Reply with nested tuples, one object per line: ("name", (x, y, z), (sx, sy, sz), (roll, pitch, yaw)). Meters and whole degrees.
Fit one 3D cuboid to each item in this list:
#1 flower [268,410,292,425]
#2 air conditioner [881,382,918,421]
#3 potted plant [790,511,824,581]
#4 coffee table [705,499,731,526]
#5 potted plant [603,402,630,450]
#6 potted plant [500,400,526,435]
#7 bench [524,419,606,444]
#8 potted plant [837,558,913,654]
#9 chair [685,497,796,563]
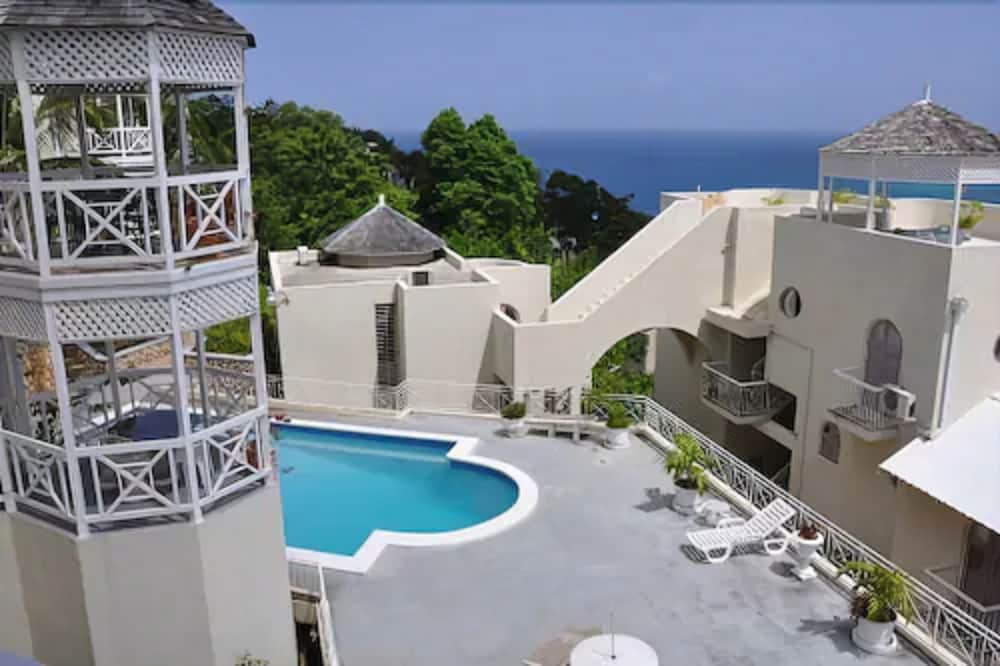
("flower", (-7.727, 2.943, 30.811), (0.737, 0.233, 1.041), (-3, 15, -16))
("air conditioner", (11.492, 2.018, 25.396), (0.838, 1.122, 0.963), (-8, 12, -37))
("potted plant", (7.716, 5.451, 22.207), (0.677, 1.272, 1.051), (6, 15, 19))
("coffee table", (5.844, 4.907, 23.894), (0.640, 0.495, 0.641), (-2, 5, -31))
("potted plant", (3.793, 2.970, 28.265), (0.824, 1.293, 1.009), (3, 14, 7))
("potted plant", (0.445, 2.872, 29.532), (0.920, 1.108, 0.999), (-5, 10, -28))
("bench", (2.197, 3.185, 29.014), (2.464, 0.539, 0.681), (5, 14, 12))
("potted plant", (8.578, 6.293, 20.753), (1.877, 2.017, 1.862), (2, 3, -1))
("chair", (6.327, 5.438, 23.148), (2.842, 1.191, 1.357), (-6, 16, -6))
